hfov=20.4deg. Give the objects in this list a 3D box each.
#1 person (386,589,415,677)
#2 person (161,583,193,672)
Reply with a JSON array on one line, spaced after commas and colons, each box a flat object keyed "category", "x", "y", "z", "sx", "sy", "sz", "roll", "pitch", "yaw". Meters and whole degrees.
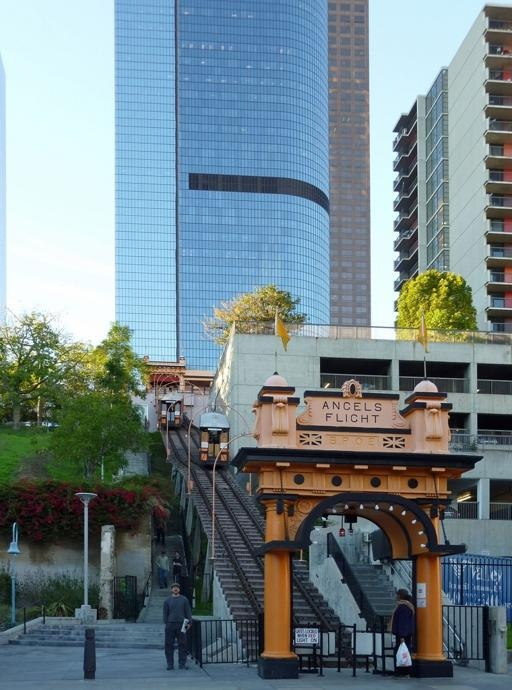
[{"category": "person", "x": 3.550, "y": 6.892, "z": 34.119, "sx": 0.577, "sy": 1.995, "sz": 1.159, "roll": -2, "pitch": -11, "yaw": 5}, {"category": "person", "x": -1.986, "y": 7.054, "z": 35.485, "sx": 0.663, "sy": 2.086, "sz": 1.543, "roll": 0, "pitch": -11, "yaw": -4}]
